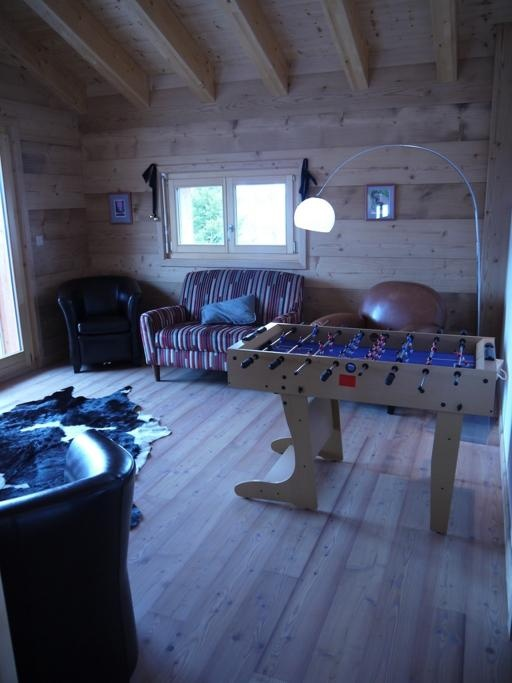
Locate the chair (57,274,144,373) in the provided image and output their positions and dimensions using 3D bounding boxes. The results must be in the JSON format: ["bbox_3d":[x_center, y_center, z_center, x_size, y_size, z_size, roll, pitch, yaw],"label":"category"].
[{"bbox_3d":[-1.519,-0.216,5.016,0.961,1.074,0.923,-6,13,-19],"label":"chair"}]

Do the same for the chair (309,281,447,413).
[{"bbox_3d":[1.131,-0.155,3.743,1.152,1.102,0.984,6,10,40],"label":"chair"}]

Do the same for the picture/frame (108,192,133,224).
[{"bbox_3d":[-1.507,-1.509,5.128,0.323,0.390,0.041,5,16,23],"label":"picture/frame"}]
